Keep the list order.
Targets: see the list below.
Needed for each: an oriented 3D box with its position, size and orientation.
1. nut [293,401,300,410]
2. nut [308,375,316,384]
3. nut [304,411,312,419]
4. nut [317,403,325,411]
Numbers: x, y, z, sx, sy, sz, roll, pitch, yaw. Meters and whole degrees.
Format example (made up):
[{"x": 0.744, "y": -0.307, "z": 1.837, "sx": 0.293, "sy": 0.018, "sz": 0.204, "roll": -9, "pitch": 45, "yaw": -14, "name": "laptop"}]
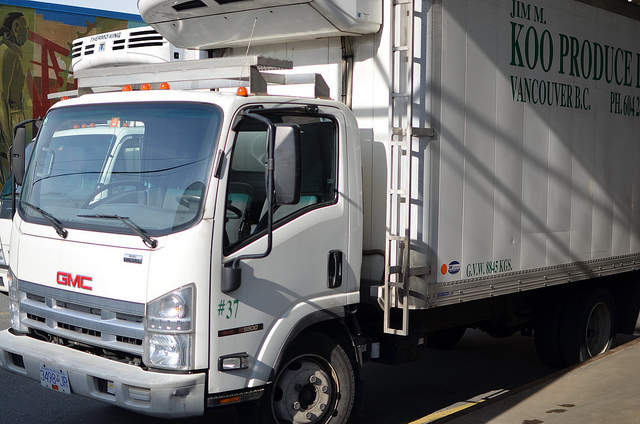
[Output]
[{"x": -0.235, "y": 1.976, "z": 6.852, "sx": 0.053, "sy": 0.081, "sz": 0.076, "roll": 1, "pitch": 1, "yaw": 0, "name": "nut"}, {"x": -0.082, "y": 1.719, "z": 6.899, "sx": 0.067, "sy": 0.074, "sz": 0.023, "roll": 3, "pitch": -1, "yaw": -35, "name": "nut"}, {"x": -0.116, "y": 2.093, "z": 6.913, "sx": 0.066, "sy": 0.085, "sz": 0.047, "roll": 3, "pitch": -3, "yaw": -4, "name": "nut"}, {"x": 0.023, "y": 2.020, "z": 6.969, "sx": 0.064, "sy": 0.070, "sz": 0.021, "roll": 3, "pitch": -3, "yaw": -25, "name": "nut"}]
